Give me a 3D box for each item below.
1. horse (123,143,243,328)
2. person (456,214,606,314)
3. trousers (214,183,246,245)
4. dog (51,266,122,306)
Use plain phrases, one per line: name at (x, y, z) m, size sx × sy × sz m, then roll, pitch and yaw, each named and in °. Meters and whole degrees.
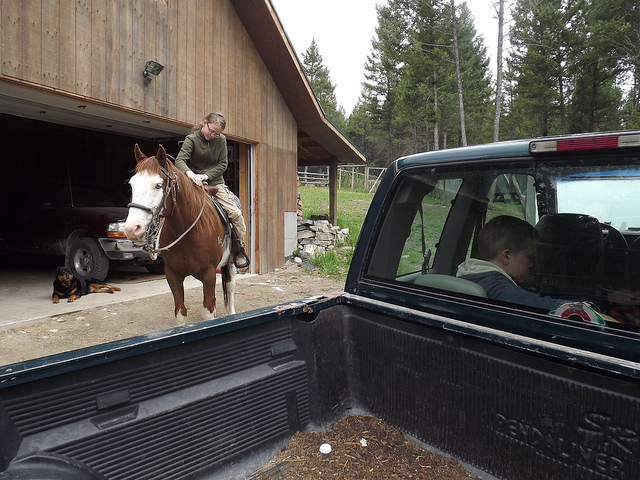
horse at (-1.636, 0.325, 6.048) m, size 0.729 × 2.369 × 3.101 m, roll -2°, pitch -4°, yaw 10°
person at (1.046, 0.127, 2.561) m, size 0.416 × 0.526 × 1.203 m, roll 5°, pitch 4°, yaw 5°
trousers at (-1.457, -0.443, 6.758) m, size 0.249 × 1.108 × 0.546 m, roll -16°, pitch 12°, yaw 2°
dog at (-4.548, 0.851, 8.386) m, size 0.624 × 0.421 × 0.976 m, roll -6°, pitch -5°, yaw 13°
